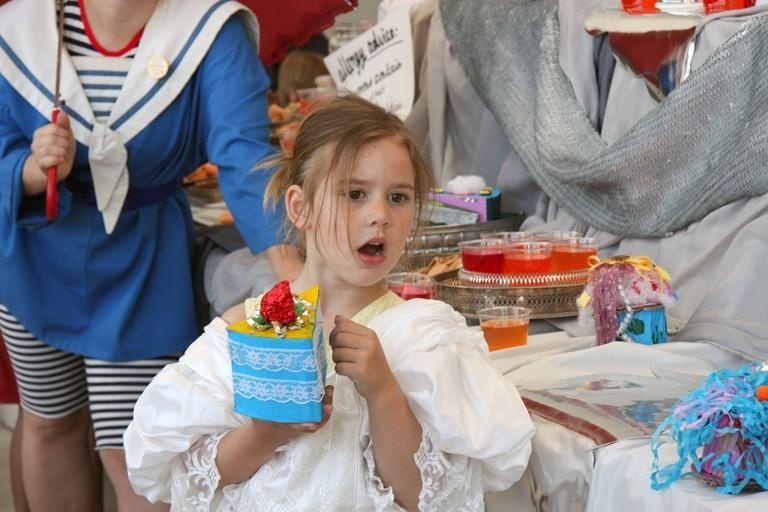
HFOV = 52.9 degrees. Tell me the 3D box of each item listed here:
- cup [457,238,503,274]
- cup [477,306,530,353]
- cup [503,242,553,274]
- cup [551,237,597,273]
[{"bbox_3d":[0.242,0.005,1.892,0.085,0.065,0.086,-1,6,0],"label":"cup"},{"bbox_3d":[0.270,0.166,1.724,0.104,0.076,0.096,-3,4,0],"label":"cup"},{"bbox_3d":[0.342,0.010,1.839,0.088,0.065,0.086,-1,6,0],"label":"cup"},{"bbox_3d":[0.457,-0.005,1.870,0.090,0.090,0.091,0,11,0],"label":"cup"}]
